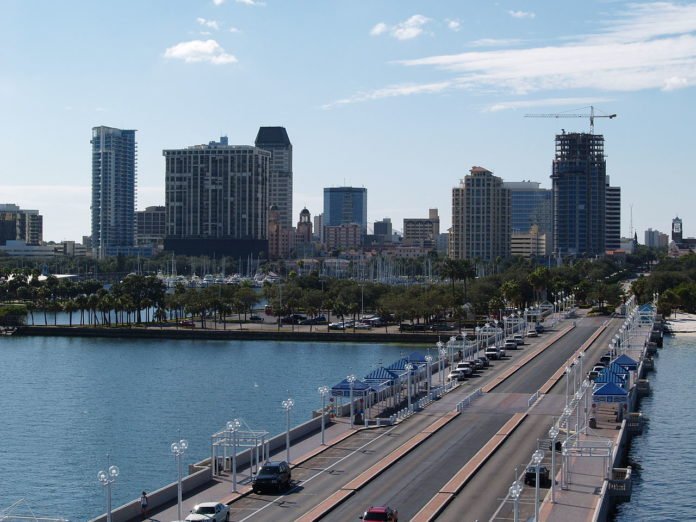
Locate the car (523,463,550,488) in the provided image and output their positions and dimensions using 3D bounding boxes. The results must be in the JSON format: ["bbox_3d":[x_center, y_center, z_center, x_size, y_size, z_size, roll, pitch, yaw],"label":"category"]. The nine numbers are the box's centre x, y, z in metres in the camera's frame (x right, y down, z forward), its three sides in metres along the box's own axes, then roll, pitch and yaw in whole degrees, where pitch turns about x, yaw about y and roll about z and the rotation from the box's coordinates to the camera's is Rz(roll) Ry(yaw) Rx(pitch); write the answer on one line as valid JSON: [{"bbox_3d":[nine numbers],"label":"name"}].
[{"bbox_3d":[22.763,26.095,156.304,3.920,3.488,2.155,0,-6,0],"label":"car"}]

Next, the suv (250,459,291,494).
[{"bbox_3d":[-9.079,25.739,154.840,4.675,3.676,2.629,-1,0,-17],"label":"suv"}]
